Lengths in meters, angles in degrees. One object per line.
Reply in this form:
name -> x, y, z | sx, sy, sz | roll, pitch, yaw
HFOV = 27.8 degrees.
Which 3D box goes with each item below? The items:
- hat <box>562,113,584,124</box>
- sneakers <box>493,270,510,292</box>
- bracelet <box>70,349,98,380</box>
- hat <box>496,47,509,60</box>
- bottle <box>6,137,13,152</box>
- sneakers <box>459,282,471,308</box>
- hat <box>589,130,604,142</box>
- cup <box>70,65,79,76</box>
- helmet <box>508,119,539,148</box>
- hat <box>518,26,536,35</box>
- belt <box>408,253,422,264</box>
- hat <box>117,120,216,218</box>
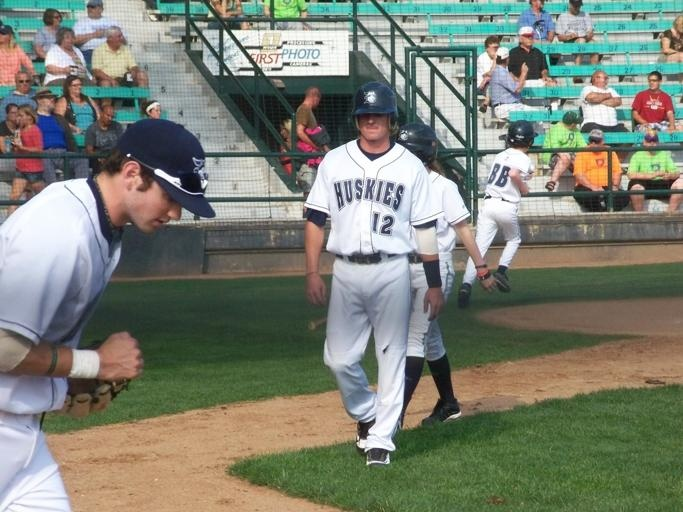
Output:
hat -> 4.173, -2.534, 25.195 | 0.276, 0.244, 0.340 | -1, 14, 3
sneakers -> 2.372, 0.385, 20.548 | 0.136, 0.358, 0.171 | -18, 38, 42
bracelet -> -2.563, 1.091, 13.736 | 0.297, 0.214, 0.245 | 1, 0, -5
hat -> 3.108, -3.930, 26.645 | 0.174, 0.214, 0.466 | 3, 15, 18
bottle -> -5.677, -1.890, 23.415 | 0.172, 0.226, 0.062 | 2, 11, 14
sneakers -> 1.845, 0.570, 20.616 | 0.147, 0.404, 0.196 | 8, 31, 11
hat -> 4.640, -2.190, 25.029 | 0.253, 0.246, 0.195 | 3, 41, 15
cup -> -4.811, -3.345, 24.692 | 0.135, 0.151, 0.264 | -4, 14, -9
helmet -> 2.690, -1.871, 20.642 | 0.387, 0.334, 0.422 | 5, 47, 9
hat -> 3.697, -4.510, 27.449 | 0.329, 0.145, 0.455 | -1, 8, -2
belt -> 0.861, 0.037, 16.068 | 0.137, 0.126, 0.033 | 5, -9, -8
hat -> -1.615, -0.989, 14.023 | 1.073, 0.566, 0.791 | 35, 9, 0
